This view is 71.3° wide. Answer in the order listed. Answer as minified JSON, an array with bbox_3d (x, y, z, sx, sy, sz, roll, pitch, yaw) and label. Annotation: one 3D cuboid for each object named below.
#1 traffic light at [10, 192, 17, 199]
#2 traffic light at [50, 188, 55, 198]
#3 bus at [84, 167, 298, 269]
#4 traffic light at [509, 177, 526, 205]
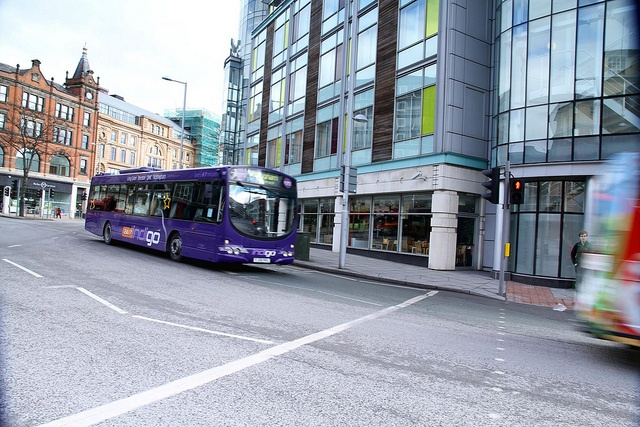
[{"bbox_3d":[-38.967,-2.338,56.864,0.783,0.799,0.836,5,-2,15],"label":"traffic light"},{"bbox_3d":[-36.719,-2.775,61.104,0.358,1.128,1.017,5,-3,-15],"label":"traffic light"},{"bbox_3d":[-7.006,-0.099,20.527,14.358,3.033,3.162,0,-4,44],"label":"bus"},{"bbox_3d":[6.829,-0.808,15.429,0.417,0.857,0.399,2,-3,31],"label":"traffic light"}]
